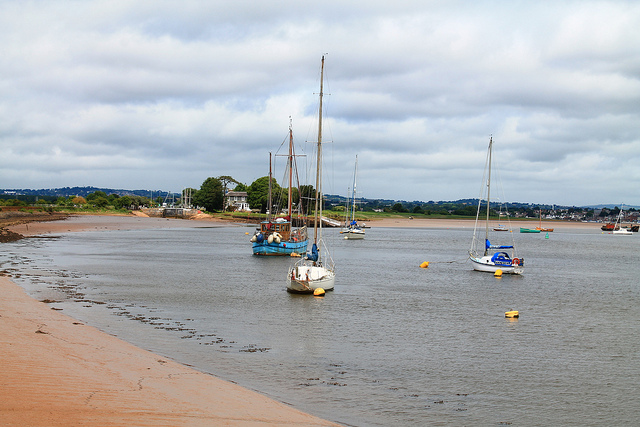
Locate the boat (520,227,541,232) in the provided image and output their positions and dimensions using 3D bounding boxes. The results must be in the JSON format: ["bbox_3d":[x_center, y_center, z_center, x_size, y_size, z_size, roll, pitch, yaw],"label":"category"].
[{"bbox_3d":[52.620,4.115,178.403,4.885,1.021,1.190,5,-1,8],"label":"boat"}]

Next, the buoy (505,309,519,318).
[{"bbox_3d":[13.753,7.189,50.445,0.652,0.432,0.456,3,-6,-14],"label":"buoy"}]

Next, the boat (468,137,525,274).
[{"bbox_3d":[17.930,-0.397,72.434,2.760,13.046,8.425,-5,5,-33],"label":"boat"}]

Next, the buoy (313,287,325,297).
[{"bbox_3d":[-0.011,6.230,55.645,0.653,0.505,0.648,0,7,-26],"label":"buoy"}]
